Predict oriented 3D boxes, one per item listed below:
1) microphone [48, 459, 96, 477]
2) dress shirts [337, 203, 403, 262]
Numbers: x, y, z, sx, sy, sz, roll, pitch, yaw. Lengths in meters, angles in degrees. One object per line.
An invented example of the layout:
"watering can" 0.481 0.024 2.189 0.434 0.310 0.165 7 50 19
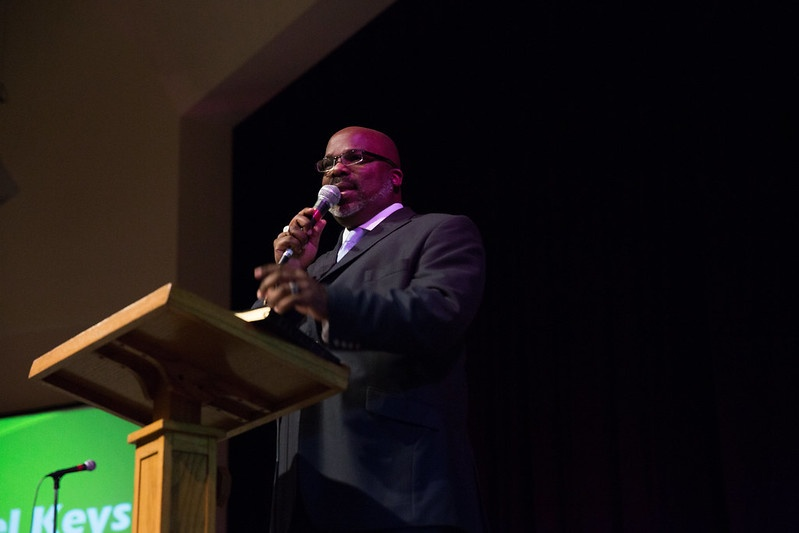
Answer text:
"microphone" -1.782 1.120 4.523 0.186 0.061 0.054 -14 2 3
"dress shirts" -0.144 -0.161 3.526 0.279 0.158 0.215 -38 0 -31
